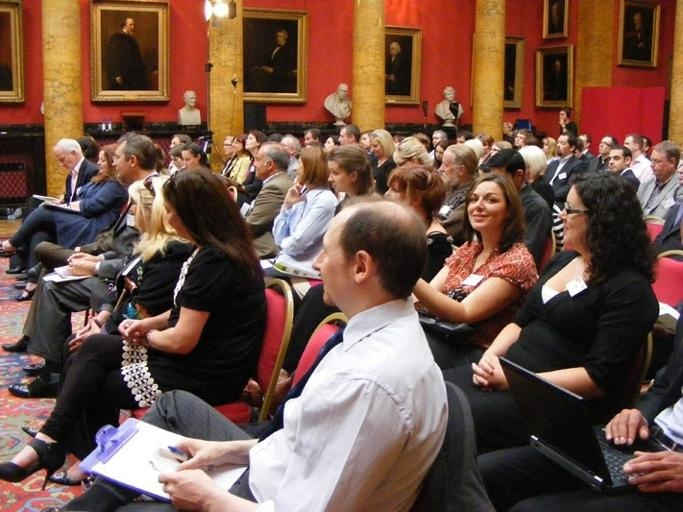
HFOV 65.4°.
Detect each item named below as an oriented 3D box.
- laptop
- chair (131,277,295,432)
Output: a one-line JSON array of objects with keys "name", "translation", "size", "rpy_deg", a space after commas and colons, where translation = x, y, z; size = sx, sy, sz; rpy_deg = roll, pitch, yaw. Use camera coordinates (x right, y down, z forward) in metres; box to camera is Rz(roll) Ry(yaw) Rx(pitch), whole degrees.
[{"name": "laptop", "translation": [0.841, 0.584, 1.926], "size": [0.449, 0.417, 0.522], "rpy_deg": [1, 19, -30]}, {"name": "chair", "translation": [-0.689, 0.444, 3.012], "size": [0.765, 1.204, 0.666], "rpy_deg": [7, -2, -28]}]
